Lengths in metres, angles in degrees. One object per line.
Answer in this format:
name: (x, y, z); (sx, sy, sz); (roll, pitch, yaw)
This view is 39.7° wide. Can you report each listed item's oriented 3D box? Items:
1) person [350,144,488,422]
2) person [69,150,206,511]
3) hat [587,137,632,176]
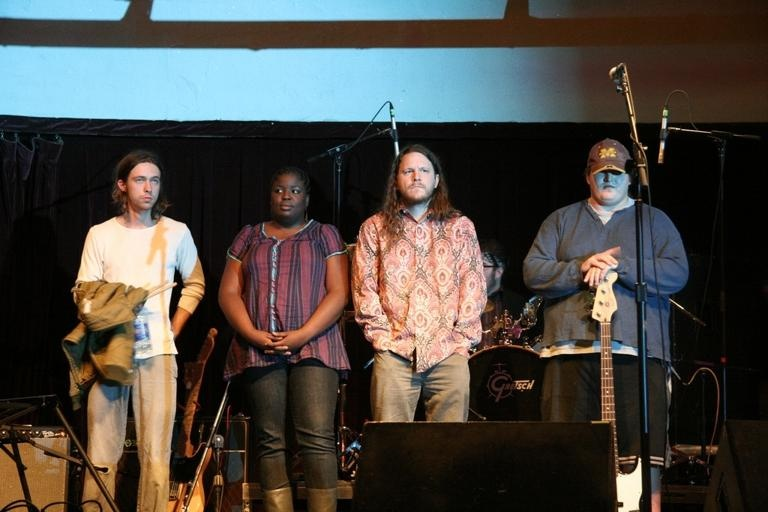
person: (0.239, 0.162, 7.412); (0.925, 1.931, 0.435); (1, -5, -4)
person: (-1.781, 0.517, 7.774); (0.916, 2.630, 0.420); (3, -5, -19)
hat: (1.637, -0.736, 7.809); (0.210, 0.184, 0.321); (-1, -2, 13)
